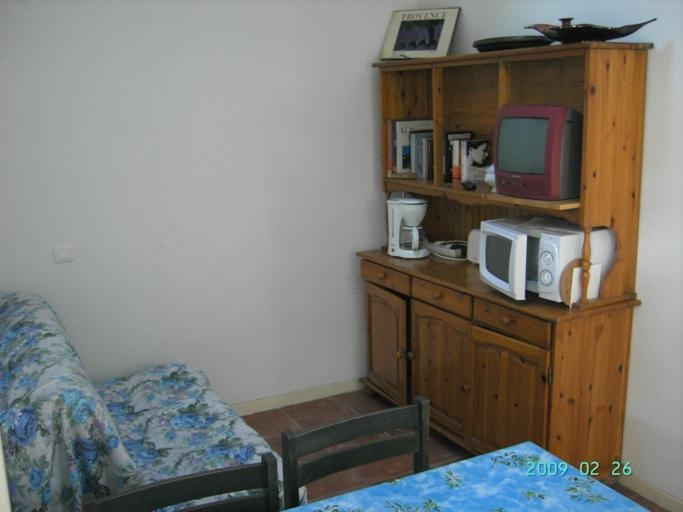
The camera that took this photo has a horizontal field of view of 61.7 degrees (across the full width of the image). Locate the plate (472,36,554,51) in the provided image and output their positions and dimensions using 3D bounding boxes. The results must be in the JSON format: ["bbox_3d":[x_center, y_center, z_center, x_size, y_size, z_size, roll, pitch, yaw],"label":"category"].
[{"bbox_3d":[0.907,-1.142,3.059,0.401,0.086,0.231,1,15,15],"label":"plate"}]

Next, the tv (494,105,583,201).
[{"bbox_3d":[1.031,-0.546,2.966,0.436,0.434,0.444,-15,20,-41],"label":"tv"}]

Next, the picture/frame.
[{"bbox_3d":[0.539,-1.467,3.786,0.600,0.422,0.064,5,-18,39],"label":"picture/frame"}]

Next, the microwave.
[{"bbox_3d":[1.078,-0.013,3.060,0.631,0.319,0.622,-4,15,-6],"label":"microwave"}]

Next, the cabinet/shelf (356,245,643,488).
[{"bbox_3d":[0.820,0.607,3.576,0.709,1.015,1.658,-8,14,-33],"label":"cabinet/shelf"}]

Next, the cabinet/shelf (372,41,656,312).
[{"bbox_3d":[0.965,-0.428,3.140,0.548,1.288,1.651,-6,12,-29],"label":"cabinet/shelf"}]

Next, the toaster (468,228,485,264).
[{"bbox_3d":[0.863,-0.069,3.578,0.144,0.217,0.129,-3,7,36],"label":"toaster"}]
